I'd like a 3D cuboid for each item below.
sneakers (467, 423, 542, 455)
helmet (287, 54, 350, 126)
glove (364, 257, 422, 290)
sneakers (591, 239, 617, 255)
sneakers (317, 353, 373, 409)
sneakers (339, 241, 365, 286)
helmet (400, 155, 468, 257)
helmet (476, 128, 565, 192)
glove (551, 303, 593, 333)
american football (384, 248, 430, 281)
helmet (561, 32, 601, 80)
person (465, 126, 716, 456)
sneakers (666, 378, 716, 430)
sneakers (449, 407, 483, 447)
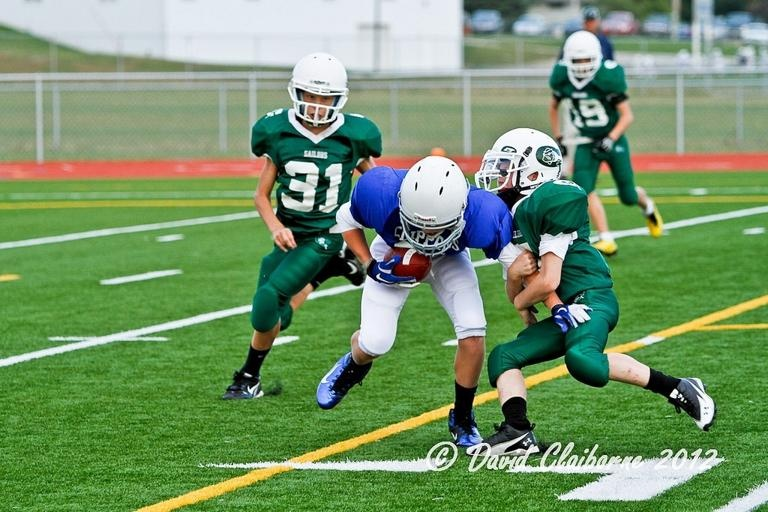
[{"bbox_3d":[0.643,0.943,4.645,0.159,0.153,0.430,4,-16,-44],"label":"sneakers"},{"bbox_3d":[-0.349,-1.005,5.508,0.392,0.359,0.438,5,39,-4],"label":"helmet"},{"bbox_3d":[0.046,0.090,4.874,0.150,0.105,0.272,-25,29,-37],"label":"glove"},{"bbox_3d":[1.896,-0.076,7.793,0.274,0.168,0.083,6,46,13],"label":"sneakers"},{"bbox_3d":[-0.234,0.705,5.258,0.204,0.158,0.449,-27,18,43],"label":"sneakers"},{"bbox_3d":[-0.191,0.068,6.418,0.125,0.323,0.156,-28,9,-12],"label":"sneakers"},{"bbox_3d":[0.254,-0.241,4.665,0.374,0.536,0.305,-1,9,4],"label":"helmet"},{"bbox_3d":[0.708,-0.550,5.052,0.567,0.353,0.399,-2,15,-29],"label":"helmet"},{"bbox_3d":[0.962,0.311,4.685,0.188,0.125,0.059,28,-6,2],"label":"glove"},{"bbox_3d":[0.164,0.020,4.901,0.208,0.149,0.244,-14,17,-26],"label":"american football"},{"bbox_3d":[1.840,-1.849,8.429,0.377,0.357,0.419,-2,52,14],"label":"helmet"},{"bbox_3d":[1.026,0.157,4.773,1.156,1.633,0.751,-1,10,4],"label":"person"},{"bbox_3d":[1.613,0.790,4.793,0.313,0.110,0.161,45,31,14],"label":"sneakers"},{"bbox_3d":[0.444,0.936,4.918,0.137,0.144,0.366,1,8,-15],"label":"sneakers"}]
